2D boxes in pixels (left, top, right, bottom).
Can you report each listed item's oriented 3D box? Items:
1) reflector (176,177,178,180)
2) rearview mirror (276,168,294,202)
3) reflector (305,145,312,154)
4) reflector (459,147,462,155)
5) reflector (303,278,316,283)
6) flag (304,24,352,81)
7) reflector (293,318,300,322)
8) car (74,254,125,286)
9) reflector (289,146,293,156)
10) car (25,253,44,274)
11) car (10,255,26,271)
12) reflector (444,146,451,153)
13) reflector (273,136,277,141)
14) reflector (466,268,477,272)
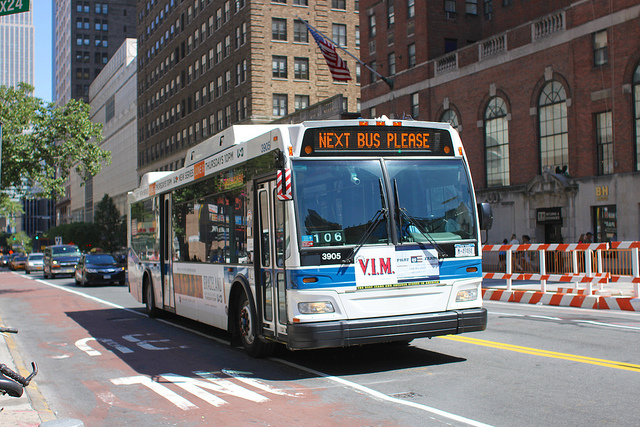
[{"bbox_3d":[-3.756,-0.933,16.843,0.001,0.061,0.107,1,-4,-30],"label":"reflector"},{"bbox_3d":[-0.621,-0.533,11.616,0.309,0.617,0.274,0,-3,-4],"label":"rearview mirror"},{"bbox_3d":[-0.209,-1.202,11.899,0.114,0.142,0.021,2,-10,-5],"label":"reflector"},{"bbox_3d":[2.778,-1.242,12.597,0.031,0.143,0.073,-3,-3,42],"label":"reflector"},{"bbox_3d":[-0.184,1.198,11.492,0.225,0.079,0.016,0,-2,-8],"label":"reflector"},{"bbox_3d":[0.509,-7.051,29.023,3.709,2.681,1.659,0,-2,6],"label":"flag"},{"bbox_3d":[-0.420,1.920,11.493,0.120,0.057,0.021,-1,-3,11],"label":"reflector"},{"bbox_3d":[-11.271,2.893,33.226,2.090,1.513,1.924,1,-4,-20],"label":"car"},{"bbox_3d":[-0.534,-1.166,11.837,0.064,0.185,0.053,0,-3,-16],"label":"reflector"},{"bbox_3d":[-23.674,4.093,53.113,1.225,1.655,1.984,1,-4,-25],"label":"car"},{"bbox_3d":[-29.618,4.797,63.408,1.746,1.582,3.105,3,-7,-34],"label":"car"},{"bbox_3d":[2.494,-1.264,12.521,0.125,0.128,0.026,1,-3,-28],"label":"reflector"},{"bbox_3d":[-0.848,-1.437,12.156,0.053,0.096,0.102,0,0,-30],"label":"reflector"},{"bbox_3d":[2.923,1.080,12.259,0.204,0.074,0.038,1,-3,-25],"label":"reflector"}]
